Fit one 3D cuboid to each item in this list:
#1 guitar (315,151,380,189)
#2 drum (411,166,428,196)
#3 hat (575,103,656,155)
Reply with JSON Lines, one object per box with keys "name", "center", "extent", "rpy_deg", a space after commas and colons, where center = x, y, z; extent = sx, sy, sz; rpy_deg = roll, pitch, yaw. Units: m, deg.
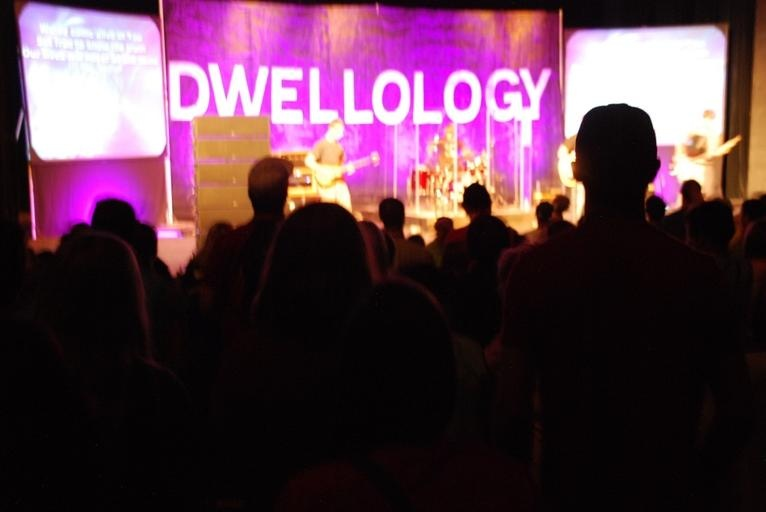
{"name": "guitar", "center": [-0.470, -1.164, 8.758], "extent": [0.900, 0.436, 0.131], "rpy_deg": [-24, 14, -21]}
{"name": "drum", "center": [0.528, -1.070, 9.498], "extent": [0.227, 0.344, 0.122], "rpy_deg": [3, -2, 13]}
{"name": "hat", "center": [0.717, -0.383, 2.081], "extent": [0.208, 0.119, 0.140], "rpy_deg": [-5, 7, 4]}
